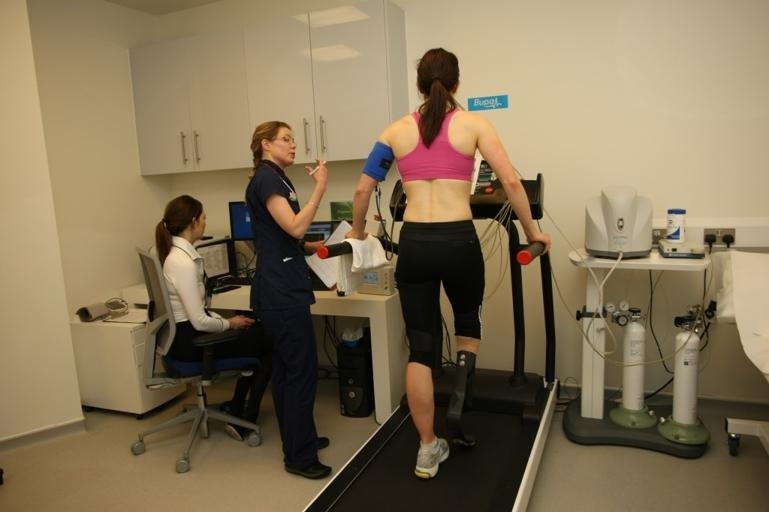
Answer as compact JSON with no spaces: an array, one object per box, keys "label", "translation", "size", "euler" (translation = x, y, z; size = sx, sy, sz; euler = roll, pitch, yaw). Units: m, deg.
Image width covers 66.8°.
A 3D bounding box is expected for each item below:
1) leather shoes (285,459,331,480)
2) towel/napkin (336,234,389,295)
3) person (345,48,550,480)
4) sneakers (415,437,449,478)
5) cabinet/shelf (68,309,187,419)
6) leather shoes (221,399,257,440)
[{"label":"leather shoes","translation":[-0.496,1.420,3.851],"size":[0.281,0.121,0.115],"euler":[1,5,13]},{"label":"towel/napkin","translation":[-0.139,0.043,3.815],"size":[0.199,0.346,0.344],"euler":[10,16,28]},{"label":"person","translation":[0.339,0.044,3.462],"size":[1.042,2.482,0.450],"euler":[-4,10,-1]},{"label":"sneakers","translation":[0.298,1.205,3.493],"size":[0.113,0.142,0.280],"euler":[2,12,24]},{"label":"cabinet/shelf","translation":[-2.109,0.840,5.048],"size":[0.882,1.017,0.668],"euler":[1,7,15]},{"label":"leather shoes","translation":[-1.088,1.211,4.331],"size":[0.131,0.162,0.390],"euler":[-3,25,-25]}]
